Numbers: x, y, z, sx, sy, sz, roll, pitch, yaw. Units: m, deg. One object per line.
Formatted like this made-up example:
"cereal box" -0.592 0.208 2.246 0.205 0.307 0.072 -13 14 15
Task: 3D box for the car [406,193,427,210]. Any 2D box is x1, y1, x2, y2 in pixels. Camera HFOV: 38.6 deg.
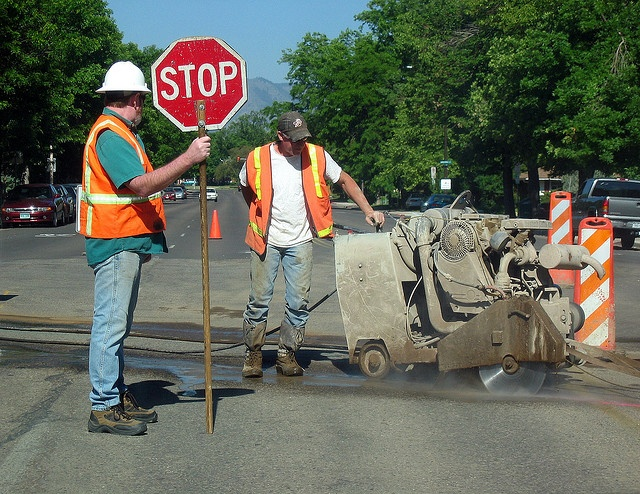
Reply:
"car" 6.080 -2.992 60.520 1.020 0.755 2.206 -2 0 3

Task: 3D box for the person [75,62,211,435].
"person" -1.595 -0.020 7.789 0.863 3.079 0.928 -2 10 -14

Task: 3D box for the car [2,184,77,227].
"car" -11.072 -1.577 36.035 1.773 1.916 4.489 0 10 -3

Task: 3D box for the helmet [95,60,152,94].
"helmet" -1.714 -1.490 7.965 0.523 0.254 0.432 7 17 21

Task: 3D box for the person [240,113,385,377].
"person" -0.277 -0.045 9.452 1.229 2.689 0.881 -2 10 -14

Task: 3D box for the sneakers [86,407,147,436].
"sneakers" -1.708 1.448 7.691 0.519 0.251 0.205 2 1 3

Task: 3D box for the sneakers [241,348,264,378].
"sneakers" -0.691 1.163 9.224 0.201 0.275 0.264 -1 10 -4

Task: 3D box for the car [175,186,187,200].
"car" -15.347 -5.803 99.409 1.058 0.763 2.237 -1 12 0

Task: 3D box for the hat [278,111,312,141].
"hat" -0.274 -1.185 9.023 0.312 0.289 0.306 0 10 -2
